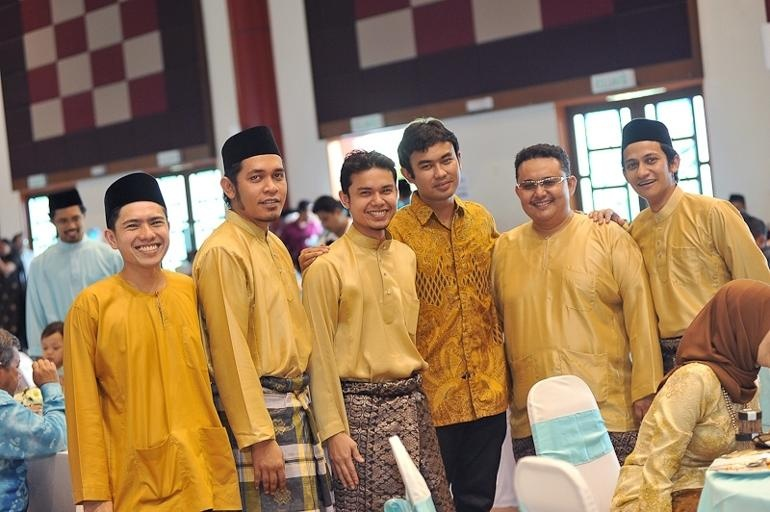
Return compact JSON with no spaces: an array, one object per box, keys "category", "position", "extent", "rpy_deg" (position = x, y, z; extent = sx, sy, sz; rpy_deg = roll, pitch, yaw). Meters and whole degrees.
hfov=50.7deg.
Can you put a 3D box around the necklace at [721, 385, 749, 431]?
[{"category":"necklace","position":[1.576,0.689,3.712],"extent":[0.147,0.204,0.051],"rpy_deg":[-14,1,-28]}]

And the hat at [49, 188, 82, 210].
[{"category":"hat","position":[-2.338,-0.372,5.874],"extent":[0.197,0.137,0.200],"rpy_deg":[-5,4,8]}]

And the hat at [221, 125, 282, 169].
[{"category":"hat","position":[-0.669,-0.548,4.050],"extent":[0.235,0.144,0.235],"rpy_deg":[-13,-11,-34]}]

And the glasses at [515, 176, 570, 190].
[{"category":"glasses","position":[0.857,-0.387,4.408],"extent":[0.276,0.070,0.091],"rpy_deg":[-10,-4,8]}]

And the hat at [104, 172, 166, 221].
[{"category":"hat","position":[-1.235,-0.309,3.938],"extent":[0.241,0.151,0.249],"rpy_deg":[-26,-34,-5]}]
